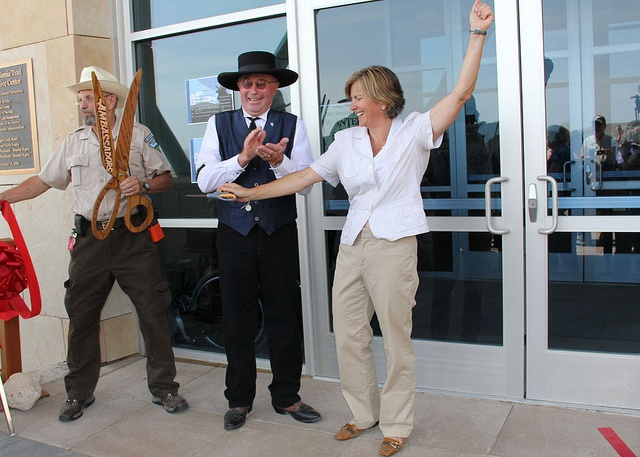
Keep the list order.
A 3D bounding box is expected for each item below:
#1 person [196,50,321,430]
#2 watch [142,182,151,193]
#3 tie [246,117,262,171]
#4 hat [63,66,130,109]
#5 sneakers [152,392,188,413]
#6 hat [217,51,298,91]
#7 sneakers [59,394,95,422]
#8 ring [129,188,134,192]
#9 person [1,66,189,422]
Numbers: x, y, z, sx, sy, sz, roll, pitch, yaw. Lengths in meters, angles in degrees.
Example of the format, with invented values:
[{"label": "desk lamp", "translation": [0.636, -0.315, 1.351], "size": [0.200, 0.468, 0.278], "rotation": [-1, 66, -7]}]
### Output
[{"label": "person", "translation": [-0.377, 0.062, 3.620], "size": [0.853, 2.523, 0.770], "rotation": [-1, 3, 12]}, {"label": "watch", "translation": [-1.184, -0.282, 3.610], "size": [0.055, 0.066, 0.040], "rotation": [2, 7, 28]}, {"label": "tie", "translation": [-0.413, -0.531, 3.271], "size": [0.066, 0.334, 0.084], "rotation": [0, 6, 1]}, {"label": "hat", "translation": [-1.527, -0.941, 3.626], "size": [0.322, 0.304, 0.312], "rotation": [9, 10, 4]}, {"label": "sneakers", "translation": [-1.048, 1.190, 3.645], "size": [0.270, 0.124, 0.109], "rotation": [-1, -6, 33]}, {"label": "hat", "translation": [-0.406, -0.972, 3.312], "size": [0.481, 0.257, 0.337], "rotation": [-10, 16, -34]}, {"label": "sneakers", "translation": [-1.657, 1.230, 3.608], "size": [0.083, 0.112, 0.252], "rotation": [0, -3, 10]}, {"label": "ring", "translation": [-1.251, -0.267, 3.513], "size": [0.021, 0.022, 0.006], "rotation": [-2, 12, 2]}, {"label": "person", "translation": [-1.476, 0.147, 3.956], "size": [1.038, 2.778, 1.049], "rotation": [-1, 3, 16]}]
